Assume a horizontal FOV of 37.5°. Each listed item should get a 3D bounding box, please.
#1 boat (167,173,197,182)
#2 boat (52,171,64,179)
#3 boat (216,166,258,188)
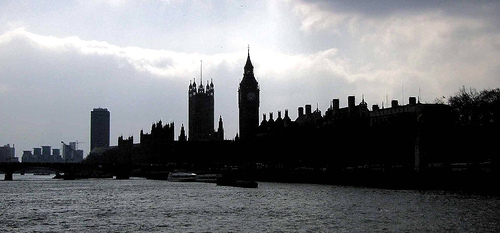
[{"bbox_3d":[-24.921,23.880,279.984,6.715,2.597,14.507,-2,2,-35],"label":"boat"},{"bbox_3d":[-88.105,26.696,339.613,5.931,3.025,5.438,0,-8,-5],"label":"boat"},{"bbox_3d":[-5.127,21.101,275.961,13.229,5.286,92.875,-1,2,-1],"label":"boat"}]
